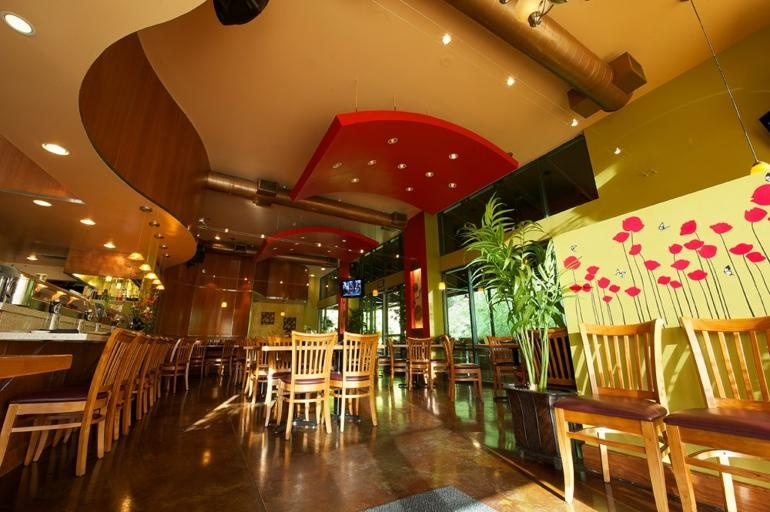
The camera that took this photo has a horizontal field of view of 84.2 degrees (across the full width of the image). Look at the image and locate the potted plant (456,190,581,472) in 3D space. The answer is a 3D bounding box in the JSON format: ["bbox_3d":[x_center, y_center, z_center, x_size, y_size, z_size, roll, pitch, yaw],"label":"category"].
[{"bbox_3d":[1.652,0.555,5.495,1.219,2.869,3.082,0,0,21],"label":"potted plant"}]
